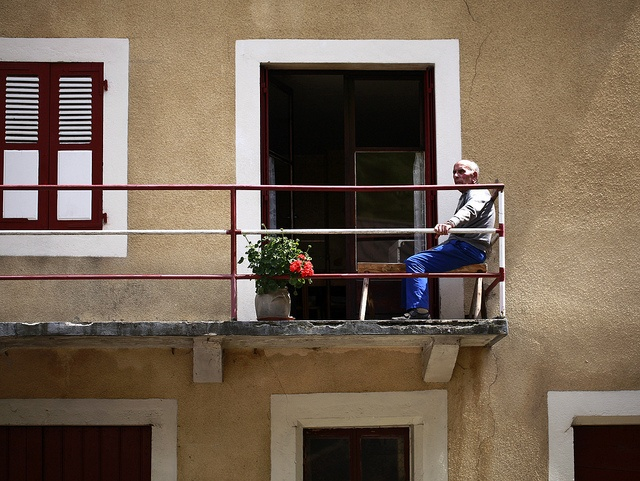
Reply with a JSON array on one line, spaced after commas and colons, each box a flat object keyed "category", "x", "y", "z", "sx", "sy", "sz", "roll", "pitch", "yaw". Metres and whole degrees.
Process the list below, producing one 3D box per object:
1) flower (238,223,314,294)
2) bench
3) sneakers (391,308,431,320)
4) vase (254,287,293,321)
[{"category": "flower", "x": -0.484, "y": 0.192, "z": 14.284, "sx": 0.642, "sy": 0.558, "sz": 0.679, "roll": 6, "pitch": -10, "yaw": -36}, {"category": "bench", "x": 1.031, "y": 0.584, "z": 14.510, "sx": 1.383, "sy": 0.622, "sz": 0.406, "roll": 0, "pitch": -9, "yaw": 4}, {"category": "sneakers", "x": 0.910, "y": 0.734, "z": 14.364, "sx": 0.401, "sy": 0.133, "sz": 0.128, "roll": 3, "pitch": -5, "yaw": -9}, {"category": "vase", "x": -0.488, "y": 0.644, "z": 14.434, "sx": 0.375, "sy": 0.341, "sz": 0.384, "roll": -9, "pitch": -15, "yaw": 35}]
